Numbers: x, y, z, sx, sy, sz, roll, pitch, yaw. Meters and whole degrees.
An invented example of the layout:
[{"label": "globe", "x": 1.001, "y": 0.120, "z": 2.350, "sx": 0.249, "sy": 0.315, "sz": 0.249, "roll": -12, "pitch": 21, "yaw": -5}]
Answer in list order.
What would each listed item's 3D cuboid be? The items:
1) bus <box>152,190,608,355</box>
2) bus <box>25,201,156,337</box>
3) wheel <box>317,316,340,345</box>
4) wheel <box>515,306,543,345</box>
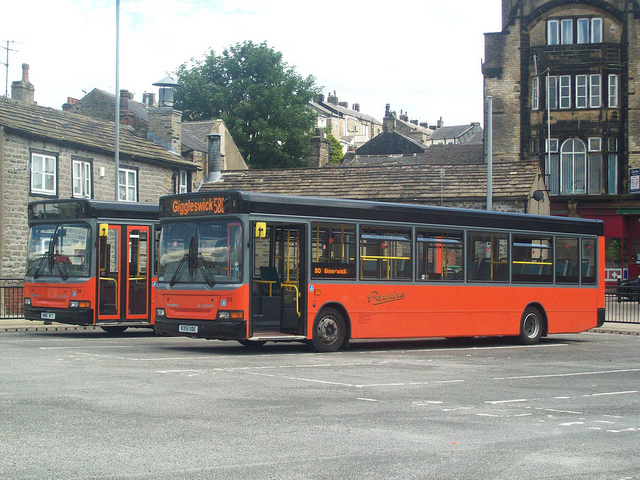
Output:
[{"label": "bus", "x": 2.186, "y": 0.906, "z": 27.942, "sx": 13.329, "sy": 3.776, "sz": 2.904, "roll": 2, "pitch": 2, "yaw": -35}, {"label": "bus", "x": -5.222, "y": 0.905, "z": 31.772, "sx": 2.399, "sy": 3.502, "sz": 8.099, "roll": 1, "pitch": -2, "yaw": 27}, {"label": "wheel", "x": 0.198, "y": 2.182, "z": 25.142, "sx": 0.207, "sy": 0.711, "sz": 0.673, "roll": -1, "pitch": -2, "yaw": 40}, {"label": "wheel", "x": 5.664, "y": 2.403, "z": 29.081, "sx": 1.019, "sy": 1.069, "sz": 0.364, "roll": 16, "pitch": -12, "yaw": -37}]
